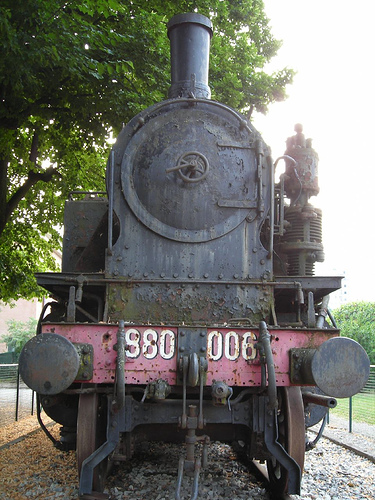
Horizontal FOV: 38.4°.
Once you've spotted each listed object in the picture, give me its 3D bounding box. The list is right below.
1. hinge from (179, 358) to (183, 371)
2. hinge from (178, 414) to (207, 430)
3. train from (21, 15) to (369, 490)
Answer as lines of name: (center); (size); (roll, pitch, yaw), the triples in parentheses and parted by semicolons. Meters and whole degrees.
hinge: (-0.050, 0.890, 4.163); (0.043, 0.093, 0.023); (-6, -9, 37)
hinge: (0.040, 1.330, 4.177); (0.233, 0.128, 0.196); (1, -8, -5)
train: (0.051, -0.305, 5.228); (2.682, 5.007, 2.566); (-1, -8, 8)
